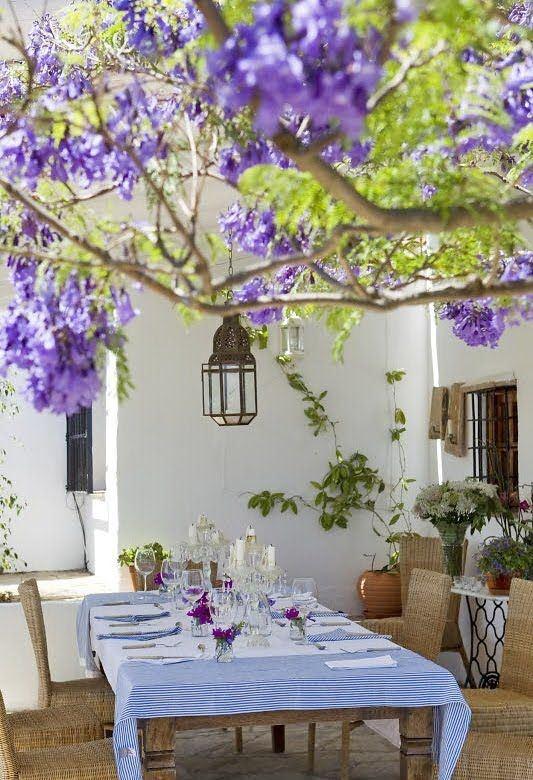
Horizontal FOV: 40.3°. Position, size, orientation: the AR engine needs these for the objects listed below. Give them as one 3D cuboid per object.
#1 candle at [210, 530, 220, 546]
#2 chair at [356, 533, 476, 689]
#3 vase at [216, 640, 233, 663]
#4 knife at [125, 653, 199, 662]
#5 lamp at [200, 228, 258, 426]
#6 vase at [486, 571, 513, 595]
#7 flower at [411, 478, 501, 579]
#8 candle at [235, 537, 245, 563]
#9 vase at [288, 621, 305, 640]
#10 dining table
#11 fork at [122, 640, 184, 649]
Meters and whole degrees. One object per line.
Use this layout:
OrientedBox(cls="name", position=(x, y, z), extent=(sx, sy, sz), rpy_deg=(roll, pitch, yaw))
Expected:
OrientedBox(cls="candle", position=(-0.288, 0.850, 4.132), extent=(0.058, 0.103, 0.056), rpy_deg=(3, 11, 4))
OrientedBox(cls="chair", position=(0.830, 1.393, 4.466), extent=(0.650, 0.910, 0.619), rpy_deg=(0, -11, -44))
OrientedBox(cls="vase", position=(-0.139, 0.870, 2.404), extent=(0.065, 0.071, 0.062), rpy_deg=(4, 8, 7))
OrientedBox(cls="knife", position=(-0.353, 0.916, 2.477), extent=(0.242, 0.025, 0.036), rpy_deg=(0, 7, -4))
OrientedBox(cls="lamp", position=(-0.172, -0.296, 3.621), extent=(0.261, 0.949, 0.245), rpy_deg=(1, 3, -6))
OrientedBox(cls="vase", position=(1.252, 1.054, 3.950), extent=(0.125, 0.094, 0.126), rpy_deg=(-1, -3, -8))
OrientedBox(cls="flower", position=(1.124, 0.848, 4.663), extent=(0.624, 0.683, 0.541), rpy_deg=(-1, 0, 4))
OrientedBox(cls="candle", position=(-0.120, 0.712, 3.227), extent=(0.039, 0.113, 0.146), rpy_deg=(-3, 3, -2))
OrientedBox(cls="vase", position=(0.117, 0.930, 2.777), extent=(0.061, 0.069, 0.061), rpy_deg=(0, 1, -20))
OrientedBox(cls="dining table", position=(-0.045, 1.043, 2.601), extent=(1.053, 0.481, 1.155), rpy_deg=(-4, 3, -18))
OrientedBox(cls="fork", position=(-0.425, 0.966, 2.744), extent=(0.167, 0.020, 0.025), rpy_deg=(1, 2, -9))
